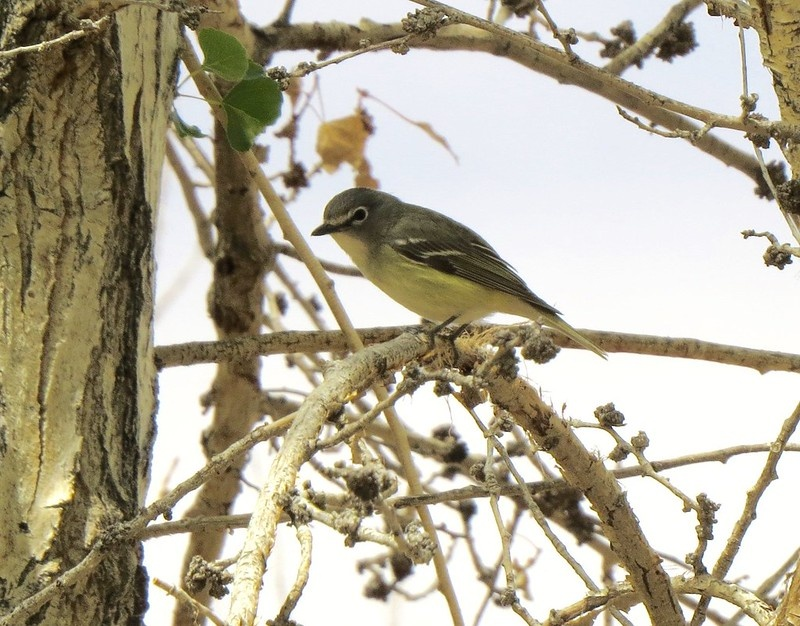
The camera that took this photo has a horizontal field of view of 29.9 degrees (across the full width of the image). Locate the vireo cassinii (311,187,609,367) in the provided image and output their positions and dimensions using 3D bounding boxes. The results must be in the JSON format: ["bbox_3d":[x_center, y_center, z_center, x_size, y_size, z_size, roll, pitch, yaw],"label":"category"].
[{"bbox_3d":[0.589,-0.232,7.630,1.960,0.630,0.908,4,-106,8],"label":"vireo cassinii"}]
